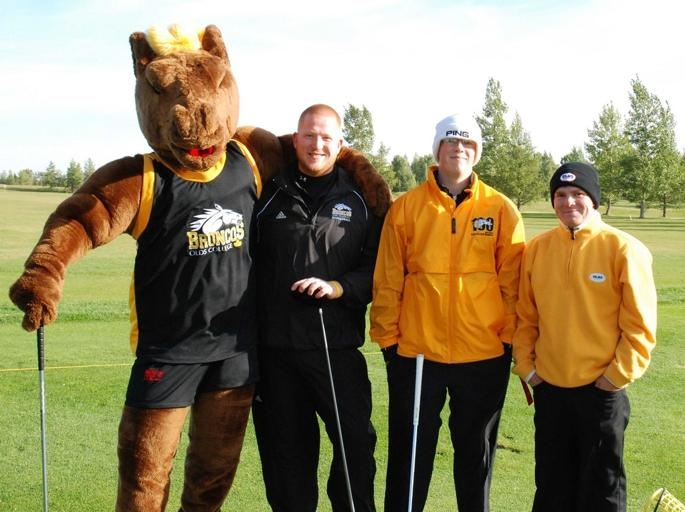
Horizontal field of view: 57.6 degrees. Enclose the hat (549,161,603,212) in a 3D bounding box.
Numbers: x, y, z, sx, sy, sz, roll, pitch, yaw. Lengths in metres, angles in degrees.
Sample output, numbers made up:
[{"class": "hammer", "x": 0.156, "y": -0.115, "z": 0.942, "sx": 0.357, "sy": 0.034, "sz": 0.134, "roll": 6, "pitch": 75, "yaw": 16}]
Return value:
[{"class": "hat", "x": 1.799, "y": -0.575, "z": 4.700, "sx": 0.325, "sy": 0.360, "sz": 0.377, "roll": -2, "pitch": -19, "yaw": 39}]
